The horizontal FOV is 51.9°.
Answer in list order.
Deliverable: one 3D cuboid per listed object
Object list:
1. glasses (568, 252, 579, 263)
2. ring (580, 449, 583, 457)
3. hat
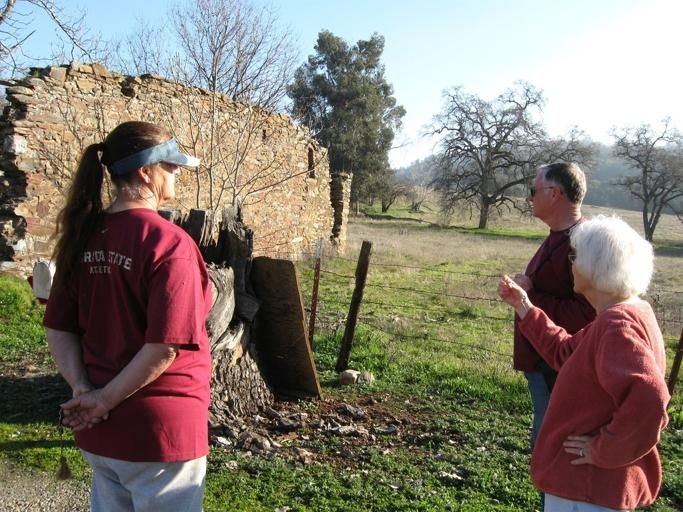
[{"bbox_3d":[1.528,0.008,4.602,0.073,0.063,0.075,3,9,4],"label":"glasses"},{"bbox_3d":[1.479,1.199,4.304,0.008,0.037,0.034,1,7,-9],"label":"ring"},{"bbox_3d":[-1.220,-0.619,4.419,0.365,0.124,0.281,-18,15,-20],"label":"hat"}]
